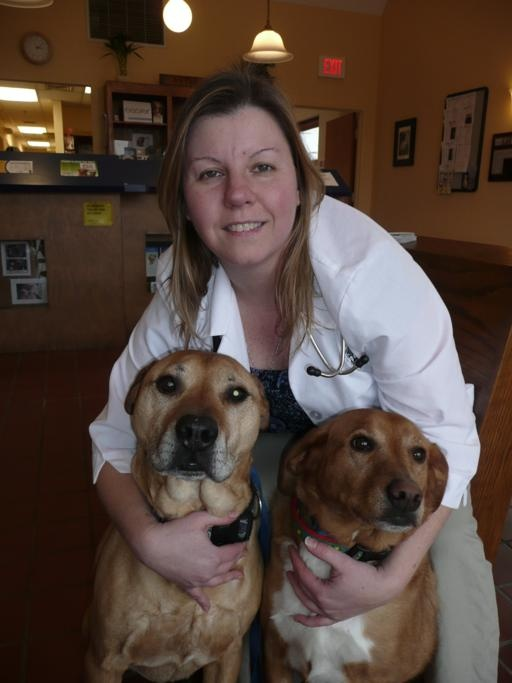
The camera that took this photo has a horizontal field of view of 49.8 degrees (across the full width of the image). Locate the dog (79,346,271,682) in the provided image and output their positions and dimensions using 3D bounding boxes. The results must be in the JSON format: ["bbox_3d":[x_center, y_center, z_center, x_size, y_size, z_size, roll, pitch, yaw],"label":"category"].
[{"bbox_3d":[-0.208,0.520,1.365,0.463,0.977,0.402,1,22,-3],"label":"dog"}]

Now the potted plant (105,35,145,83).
[{"bbox_3d":[-1.779,-3.774,7.316,0.417,0.465,0.452,5,20,10],"label":"potted plant"}]
